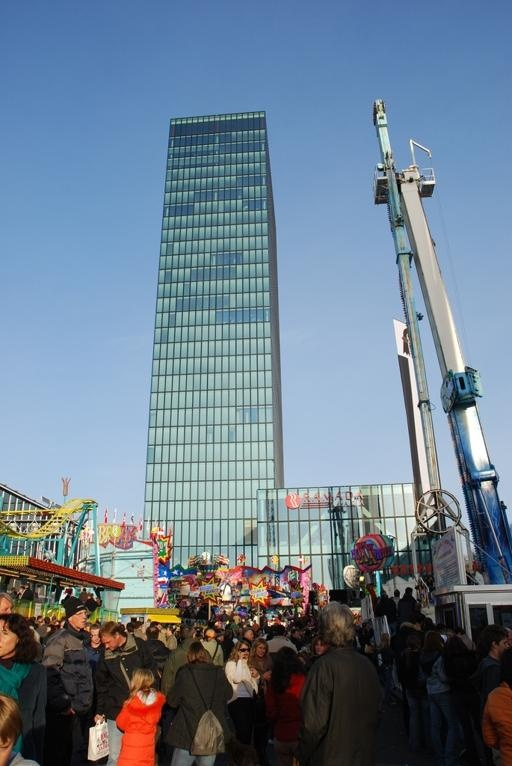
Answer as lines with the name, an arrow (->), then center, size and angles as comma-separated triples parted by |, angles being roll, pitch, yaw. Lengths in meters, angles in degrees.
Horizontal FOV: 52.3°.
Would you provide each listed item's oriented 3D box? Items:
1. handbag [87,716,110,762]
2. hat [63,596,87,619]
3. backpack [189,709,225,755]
handbag -> -1.996, 4.555, 6.657 | 0.216, 0.430, 0.334 | 2, -21, -12
hat -> -2.331, 2.855, 6.642 | 0.324, 0.309, 0.246 | -20, -30, 33
backpack -> -0.546, 3.804, 5.677 | 0.404, 0.506, 0.247 | 8, -46, -12
